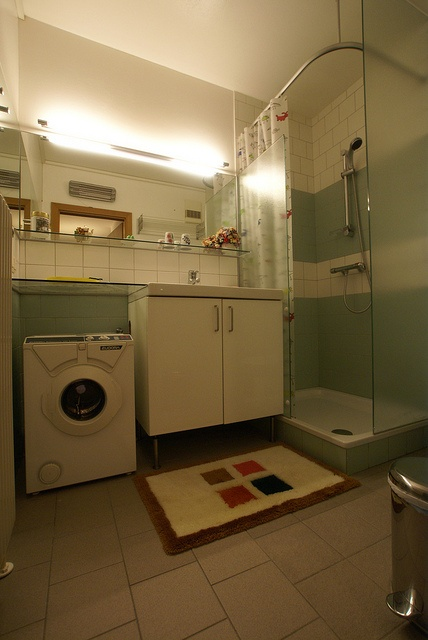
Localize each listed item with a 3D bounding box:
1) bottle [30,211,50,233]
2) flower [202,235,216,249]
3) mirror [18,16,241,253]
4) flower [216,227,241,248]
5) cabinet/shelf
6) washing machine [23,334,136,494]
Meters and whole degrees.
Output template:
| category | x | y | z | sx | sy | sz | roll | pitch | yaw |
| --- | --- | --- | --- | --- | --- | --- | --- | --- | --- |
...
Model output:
| category | x | y | z | sx | sy | sz | roll | pitch | yaw |
| --- | --- | --- | --- | --- | --- | --- | --- | --- | --- |
| bottle | -0.932 | -0.531 | 2.458 | 0.101 | 0.100 | 0.048 | -8 | 13 | -30 |
| flower | -0.041 | -0.494 | 2.965 | 0.081 | 0.098 | 0.068 | 1 | 1 | 4 |
| mirror | -0.546 | -1.109 | 2.719 | 1.605 | 1.209 | 0.110 | 3 | 3 | -31 |
| flower | 0.096 | -0.538 | 2.984 | 0.143 | 0.127 | 0.111 | 5 | 8 | 11 |
| cabinet/shelf | -0.060 | 0.172 | 2.433 | 0.753 | 0.698 | 0.421 | 1 | 1 | -29 |
| washing machine | -0.610 | 0.366 | 2.100 | 0.383 | 0.637 | 0.475 | -1 | 1 | -27 |
